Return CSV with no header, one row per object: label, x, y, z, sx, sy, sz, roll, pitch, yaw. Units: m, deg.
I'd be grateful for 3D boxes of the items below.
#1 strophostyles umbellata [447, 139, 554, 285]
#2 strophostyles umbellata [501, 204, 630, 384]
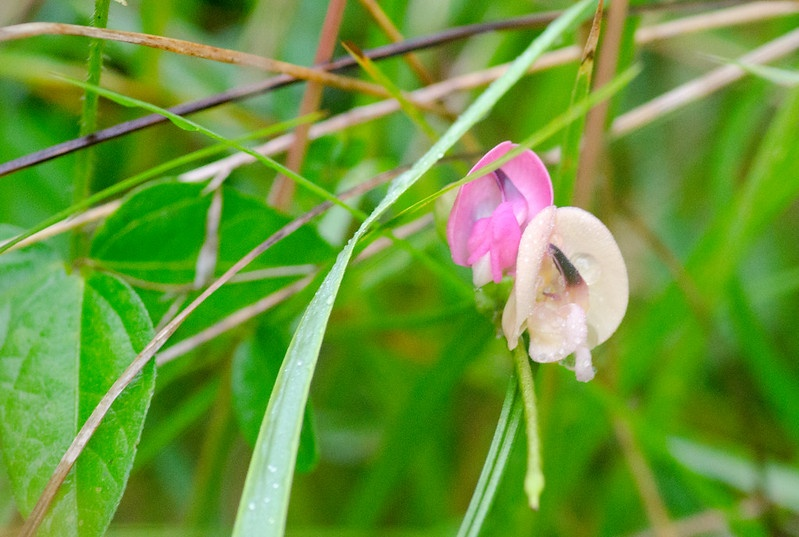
strophostyles umbellata,0.097,-0.045,0.739,0.072,0.088,0.148,3,-71,-56
strophostyles umbellata,0.151,0.020,0.663,0.129,0.160,0.057,0,-3,-12
